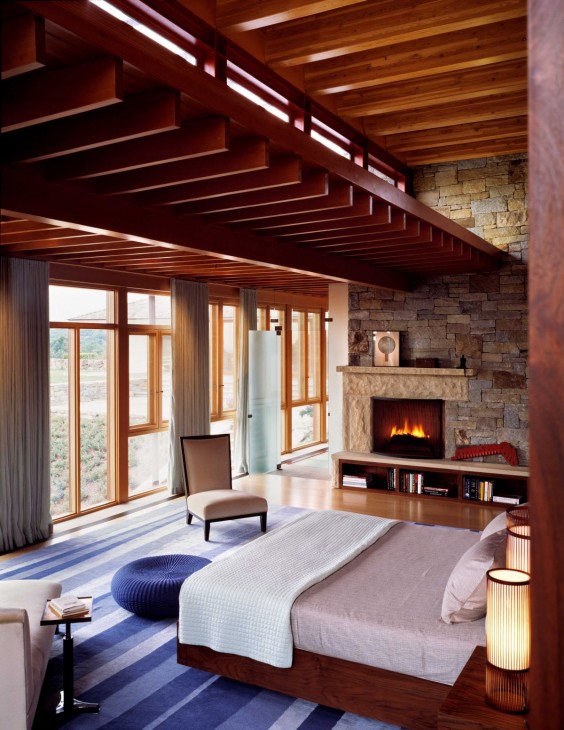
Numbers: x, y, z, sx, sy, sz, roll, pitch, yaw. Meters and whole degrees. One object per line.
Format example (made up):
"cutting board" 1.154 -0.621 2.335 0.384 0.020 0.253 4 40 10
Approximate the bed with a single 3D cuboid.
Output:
"bed" 0.532 1.373 3.534 1.592 0.336 1.869 -3 -2 28

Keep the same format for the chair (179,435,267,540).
"chair" -0.678 1.167 5.886 0.838 1.137 0.950 1 -3 -34

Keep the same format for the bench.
"bench" 1.768 1.323 7.192 2.343 0.425 0.349 -3 -2 27
